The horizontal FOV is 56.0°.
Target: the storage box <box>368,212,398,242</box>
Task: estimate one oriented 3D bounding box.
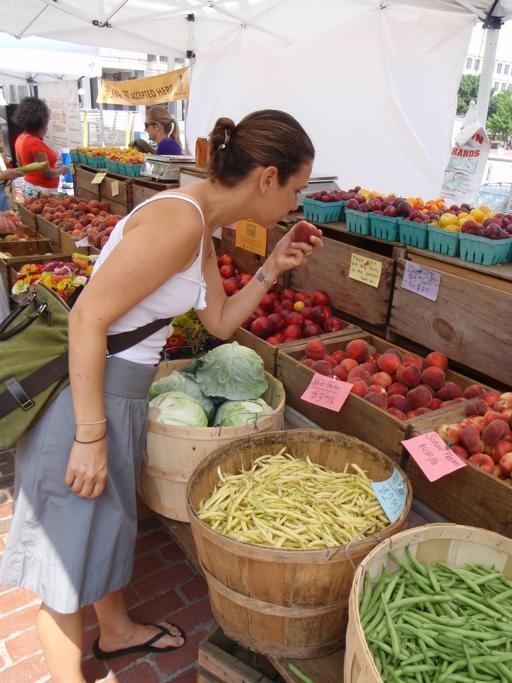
[{"bbox_3d":[0.675,-0.601,2.547,0.181,0.106,0.130,15,27,32],"label":"storage box"}]

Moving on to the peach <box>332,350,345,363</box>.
[{"bbox_3d":[0.410,0.077,2.391,0.060,0.052,0.060,-13,-1,32],"label":"peach"}]

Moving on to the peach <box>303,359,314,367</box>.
[{"bbox_3d":[0.257,0.103,2.342,0.036,0.032,0.040,-19,3,-39],"label":"peach"}]

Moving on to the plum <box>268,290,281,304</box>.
[{"bbox_3d":[0.122,-0.297,3.212,0.094,0.099,0.088,-2,15,-12],"label":"plum"}]

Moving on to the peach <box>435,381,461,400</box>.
[{"bbox_3d":[0.838,0.208,2.098,0.080,0.078,0.085,6,21,41],"label":"peach"}]

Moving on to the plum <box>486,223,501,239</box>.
[{"bbox_3d":[1.017,-0.460,2.073,0.069,0.065,0.066,-3,-11,35],"label":"plum"}]

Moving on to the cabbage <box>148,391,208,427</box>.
[{"bbox_3d":[-0.318,0.281,1.953,0.161,0.076,0.176,6,8,-24],"label":"cabbage"}]

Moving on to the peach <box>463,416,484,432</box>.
[{"bbox_3d":[0.785,0.294,1.733,0.056,0.021,0.055,0,16,21],"label":"peach"}]

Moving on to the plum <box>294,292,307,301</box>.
[{"bbox_3d":[0.285,-0.289,3.077,0.059,0.065,0.056,22,19,-12],"label":"plum"}]

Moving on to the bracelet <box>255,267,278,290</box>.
[{"bbox_3d":[0.039,-0.274,2.123,0.083,0.052,0.102,39,1,-10],"label":"bracelet"}]

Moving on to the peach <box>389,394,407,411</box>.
[{"bbox_3d":[0.597,0.259,2.042,0.074,0.071,0.075,-1,-16,-39],"label":"peach"}]

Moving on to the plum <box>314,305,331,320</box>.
[{"bbox_3d":[0.392,-0.171,2.882,0.089,0.082,0.088,16,18,31],"label":"plum"}]

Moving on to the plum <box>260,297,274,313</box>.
[{"bbox_3d":[0.067,-0.231,3.056,0.072,0.085,0.073,29,36,11],"label":"plum"}]

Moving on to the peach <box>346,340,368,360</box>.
[{"bbox_3d":[0.506,0.049,2.435,0.110,0.095,0.098,11,33,26],"label":"peach"}]

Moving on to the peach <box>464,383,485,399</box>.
[{"bbox_3d":[0.907,0.207,1.997,0.065,0.059,0.064,2,-5,-3],"label":"peach"}]

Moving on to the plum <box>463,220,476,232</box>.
[{"bbox_3d":[0.945,-0.508,2.127,0.044,0.043,0.046,-31,-25,9],"label":"plum"}]

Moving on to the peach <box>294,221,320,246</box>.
[{"bbox_3d":[0.209,-0.460,2.059,0.107,0.113,0.097,17,29,15],"label":"peach"}]

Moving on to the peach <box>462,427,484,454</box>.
[{"bbox_3d":[0.731,0.335,1.625,0.058,0.091,0.050,4,-22,-10],"label":"peach"}]

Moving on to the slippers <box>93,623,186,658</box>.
[{"bbox_3d":[-0.549,1.406,2.204,0.436,0.119,0.141,0,21,-4],"label":"slippers"}]

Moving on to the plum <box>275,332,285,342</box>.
[{"bbox_3d":[0.140,-0.023,2.798,0.047,0.040,0.043,-7,-27,-3],"label":"plum"}]

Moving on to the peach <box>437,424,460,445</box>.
[{"bbox_3d":[0.665,0.320,1.676,0.066,0.059,0.064,1,13,39],"label":"peach"}]

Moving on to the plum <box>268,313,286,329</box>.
[{"bbox_3d":[0.134,-0.130,2.952,0.098,0.107,0.095,3,25,31],"label":"plum"}]

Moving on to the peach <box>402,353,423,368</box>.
[{"bbox_3d":[0.737,0.086,2.262,0.080,0.074,0.079,28,30,34],"label":"peach"}]

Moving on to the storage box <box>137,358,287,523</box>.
[{"bbox_3d":[-0.172,0.460,2.103,0.614,0.521,0.575,-10,25,-32],"label":"storage box"}]

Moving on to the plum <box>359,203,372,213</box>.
[{"bbox_3d":[0.614,-0.736,2.644,0.053,0.027,0.048,-6,57,-2],"label":"plum"}]

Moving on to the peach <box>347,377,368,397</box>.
[{"bbox_3d":[0.425,0.190,2.022,0.074,0.072,0.077,-13,33,-37],"label":"peach"}]

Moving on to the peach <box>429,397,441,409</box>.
[{"bbox_3d":[0.760,0.265,2.031,0.041,0.044,0.040,-1,2,-39],"label":"peach"}]

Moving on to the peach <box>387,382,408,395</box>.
[{"bbox_3d":[0.624,0.208,2.121,0.057,0.051,0.057,1,5,27],"label":"peach"}]

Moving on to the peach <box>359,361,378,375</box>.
[{"bbox_3d":[0.546,0.125,2.292,0.074,0.067,0.068,20,19,15],"label":"peach"}]

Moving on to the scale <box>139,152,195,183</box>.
[{"bbox_3d":[-0.941,-1.774,4.911,0.533,0.262,0.562,-11,28,-25],"label":"scale"}]

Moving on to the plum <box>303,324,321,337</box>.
[{"bbox_3d":[0.313,-0.058,2.778,0.083,0.075,0.080,4,25,-33],"label":"plum"}]

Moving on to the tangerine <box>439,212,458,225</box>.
[{"bbox_3d":[0.896,-0.565,2.233,0.067,0.059,0.066,-6,1,18],"label":"tangerine"}]

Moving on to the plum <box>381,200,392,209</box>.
[{"bbox_3d":[0.693,-0.719,2.536,0.049,0.037,0.051,-3,17,7],"label":"plum"}]

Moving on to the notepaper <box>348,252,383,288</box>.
[{"bbox_3d":[0.585,-0.377,2.547,0.020,0.133,0.190,-12,32,-32],"label":"notepaper"}]

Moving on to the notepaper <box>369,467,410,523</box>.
[{"bbox_3d":[0.357,0.429,1.389,0.129,0.134,0.126,26,58,6],"label":"notepaper"}]
